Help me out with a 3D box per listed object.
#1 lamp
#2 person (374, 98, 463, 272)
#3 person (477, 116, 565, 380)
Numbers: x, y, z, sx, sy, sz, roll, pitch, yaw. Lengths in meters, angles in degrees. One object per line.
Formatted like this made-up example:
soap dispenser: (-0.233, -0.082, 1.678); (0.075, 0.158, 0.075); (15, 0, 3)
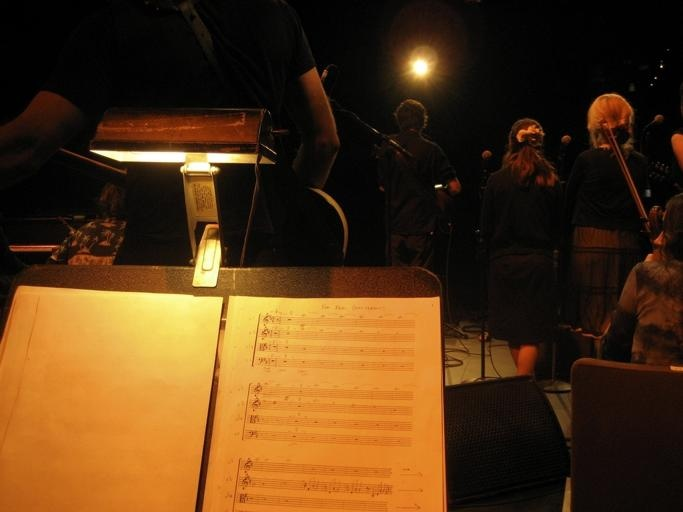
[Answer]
lamp: (-0.443, -0.210, 1.839); (0.537, 0.534, 0.397); (0, 9, 7)
person: (0.613, -0.591, 4.613); (0.653, 1.353, 0.441); (4, -3, 4)
person: (1.202, -0.122, 3.876); (0.515, 1.666, 0.278); (3, -3, 21)
